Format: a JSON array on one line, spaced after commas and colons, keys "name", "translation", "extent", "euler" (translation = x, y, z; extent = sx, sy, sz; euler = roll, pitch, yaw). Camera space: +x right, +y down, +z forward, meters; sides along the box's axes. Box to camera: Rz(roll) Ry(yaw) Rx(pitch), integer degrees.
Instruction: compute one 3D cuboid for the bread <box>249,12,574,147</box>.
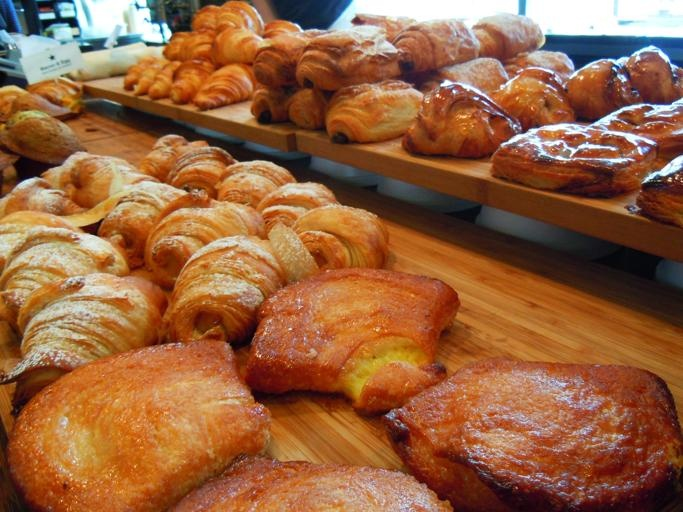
[{"name": "bread", "translation": [0.317, -0.738, 2.054], "extent": [1.145, 0.280, 0.755], "euler": [-11, 23, -32]}]
